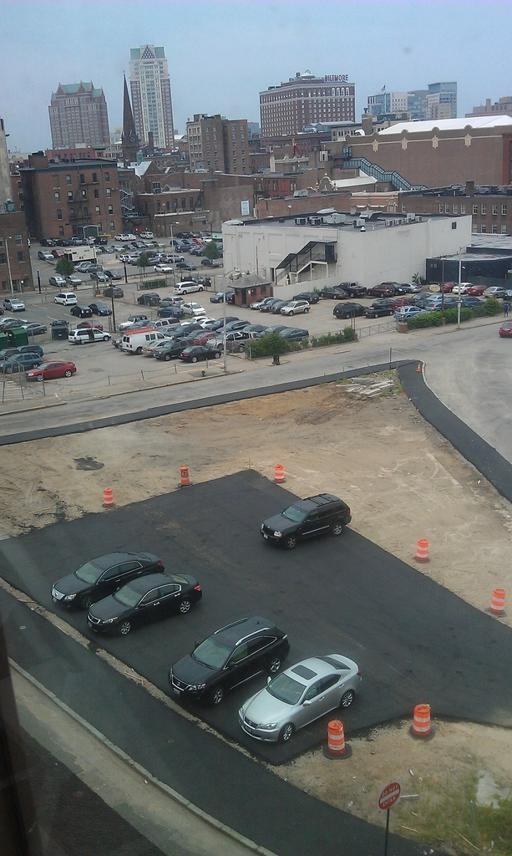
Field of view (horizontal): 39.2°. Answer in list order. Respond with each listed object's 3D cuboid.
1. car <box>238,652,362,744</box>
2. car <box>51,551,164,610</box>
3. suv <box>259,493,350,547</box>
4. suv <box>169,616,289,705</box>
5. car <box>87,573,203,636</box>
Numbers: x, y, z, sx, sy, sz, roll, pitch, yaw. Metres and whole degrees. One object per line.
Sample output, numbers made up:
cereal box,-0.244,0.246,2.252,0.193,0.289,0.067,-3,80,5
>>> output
car,0.852,5.400,14.525,2.417,0.787,1.073,-15,25,-40
car,-4.121,4.063,19.960,2.869,0.934,1.205,-14,23,-34
suv,1.661,2.920,23.566,2.918,1.149,1.308,-10,22,-32
suv,-0.577,5.004,15.870,2.618,1.010,1.156,-13,20,-41
car,-2.832,4.446,18.595,2.824,0.934,1.165,-13,26,-34
